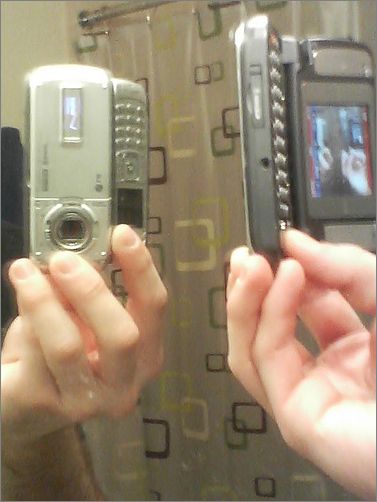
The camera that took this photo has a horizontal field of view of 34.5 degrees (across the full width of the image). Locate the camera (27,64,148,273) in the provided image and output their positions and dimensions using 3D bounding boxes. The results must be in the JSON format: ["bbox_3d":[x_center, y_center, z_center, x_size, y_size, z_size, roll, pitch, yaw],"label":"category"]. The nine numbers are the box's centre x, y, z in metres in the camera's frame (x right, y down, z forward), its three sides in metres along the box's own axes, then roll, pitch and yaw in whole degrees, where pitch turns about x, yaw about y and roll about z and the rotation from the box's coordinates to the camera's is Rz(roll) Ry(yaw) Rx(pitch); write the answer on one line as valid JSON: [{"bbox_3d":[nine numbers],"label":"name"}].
[{"bbox_3d":[-0.098,-0.112,0.609,0.114,0.234,0.123,-5,49,-16],"label":"camera"}]
